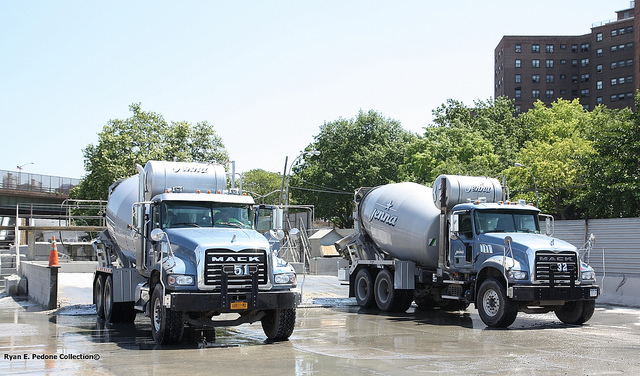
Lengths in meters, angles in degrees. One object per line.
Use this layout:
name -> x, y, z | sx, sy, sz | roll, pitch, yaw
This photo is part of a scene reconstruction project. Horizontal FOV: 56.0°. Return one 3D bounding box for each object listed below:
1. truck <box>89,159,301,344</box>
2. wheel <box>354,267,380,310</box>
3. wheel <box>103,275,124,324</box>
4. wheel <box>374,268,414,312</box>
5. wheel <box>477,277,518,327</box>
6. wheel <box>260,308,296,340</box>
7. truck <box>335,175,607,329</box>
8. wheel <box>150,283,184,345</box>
truck -> -4.693, 2.008, 20.939 | 3.612, 5.591, 7.829 | 1, -1, -43
wheel -> 2.191, 4.528, 27.363 | 0.720, 1.848, 1.853 | 5, -5, -29
wheel -> -7.653, 4.095, 22.447 | 0.560, 1.607, 1.256 | 1, 0, -26
wheel -> 3.257, 4.376, 26.048 | 0.771, 1.957, 1.959 | 1, 1, -30
wheel -> 6.674, 4.217, 22.435 | 0.730, 1.884, 1.839 | 3, -6, -34
wheel -> -1.361, 4.364, 19.579 | 0.508, 1.207, 1.217 | -2, 1, -41
truck -> 5.920, 2.539, 27.426 | 5.166, 5.672, 13.370 | 3, -5, -26
wheel -> -4.734, 3.900, 18.736 | 0.675, 1.896, 1.895 | 2, 3, -28
